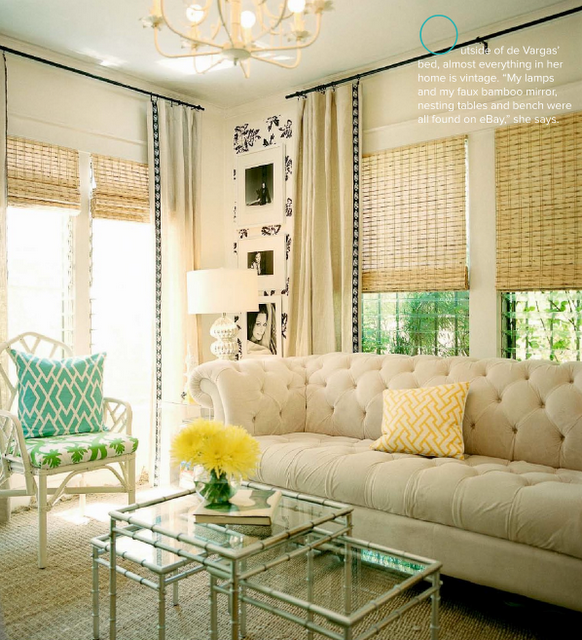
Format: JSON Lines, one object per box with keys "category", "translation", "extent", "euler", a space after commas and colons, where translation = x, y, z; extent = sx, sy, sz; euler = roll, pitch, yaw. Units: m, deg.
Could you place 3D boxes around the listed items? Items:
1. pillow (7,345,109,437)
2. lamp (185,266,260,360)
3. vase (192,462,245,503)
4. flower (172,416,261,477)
{"category": "pillow", "translation": [-1.233, 0.384, 2.885], "extent": [0.157, 0.423, 0.435], "euler": [-25, -24, 40]}
{"category": "lamp", "translation": [-0.470, -0.027, 3.673], "extent": [0.393, 0.593, 0.445], "euler": [-2, 0, -37]}
{"category": "vase", "translation": [-0.227, 0.491, 1.691], "extent": [0.105, 0.092, 0.123], "euler": [3, -10, -4]}
{"category": "flower", "translation": [-0.214, 0.380, 1.679], "extent": [0.185, 0.120, 0.194], "euler": [10, 0, 9]}
